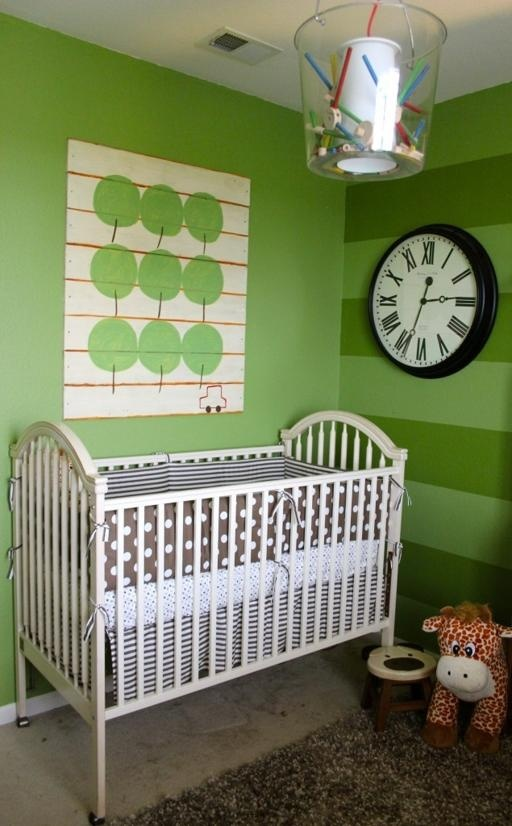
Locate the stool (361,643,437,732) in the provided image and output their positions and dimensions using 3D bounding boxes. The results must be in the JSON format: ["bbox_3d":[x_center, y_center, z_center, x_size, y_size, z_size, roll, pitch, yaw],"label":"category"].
[{"bbox_3d":[0.502,0.965,2.243,0.234,0.227,0.254,3,6,18],"label":"stool"}]

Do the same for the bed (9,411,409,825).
[{"bbox_3d":[-0.163,0.436,2.399,1.384,1.102,0.878,-9,12,-41],"label":"bed"}]

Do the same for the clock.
[{"bbox_3d":[0.761,-0.472,2.687,0.066,0.639,0.608,0,10,-33],"label":"clock"}]
